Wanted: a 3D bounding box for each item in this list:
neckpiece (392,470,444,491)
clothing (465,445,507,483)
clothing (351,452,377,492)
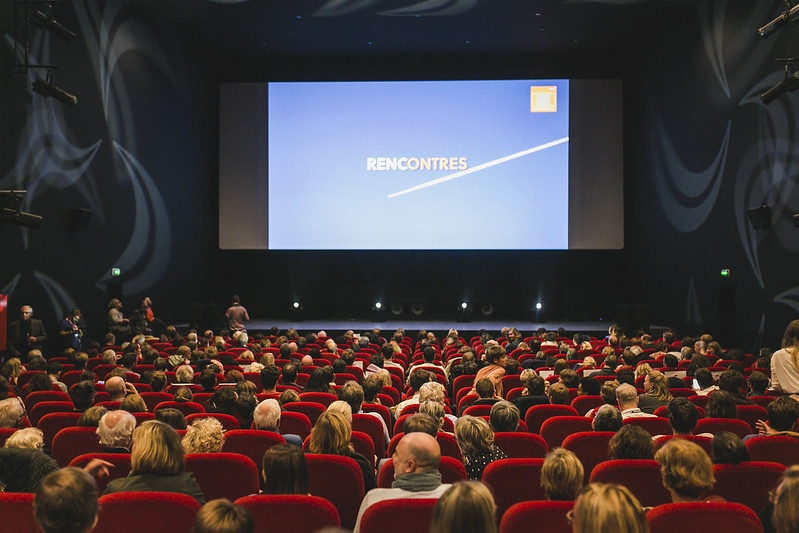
[{"bbox_3d":[0.192,2.174,6.842,0.291,0.141,0.258,-3,-6,29],"label":"neckpiece"},{"bbox_3d":[0.921,2.165,7.557,0.423,0.584,0.318,2,-8,-7],"label":"clothing"},{"bbox_3d":[-0.373,2.314,7.619,0.286,0.405,0.398,-1,-3,20],"label":"clothing"}]
